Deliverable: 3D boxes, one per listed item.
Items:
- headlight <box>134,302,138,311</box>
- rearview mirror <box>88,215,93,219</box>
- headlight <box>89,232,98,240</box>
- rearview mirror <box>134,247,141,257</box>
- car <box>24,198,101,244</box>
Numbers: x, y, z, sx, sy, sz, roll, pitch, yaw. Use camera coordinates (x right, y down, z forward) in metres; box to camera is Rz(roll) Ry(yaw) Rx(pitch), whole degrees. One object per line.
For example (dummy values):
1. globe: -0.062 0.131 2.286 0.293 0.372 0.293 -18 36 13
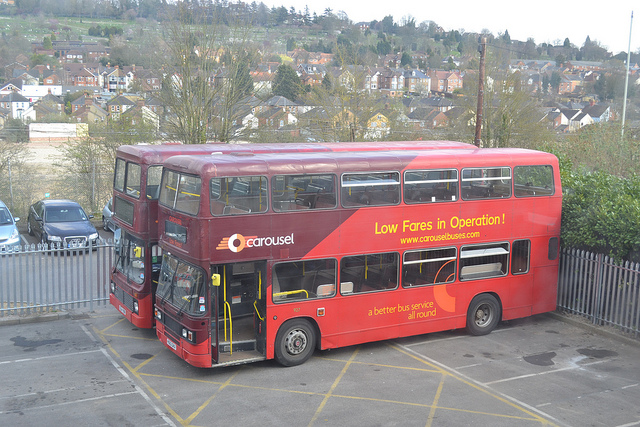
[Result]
1. headlight: -5.791 2.885 19.071 0.055 0.209 0.201 2 1 -32
2. rearview mirror: -10.784 0.146 28.522 0.204 0.129 0.204 0 -3 -14
3. headlight: -10.325 1.001 27.619 0.361 0.269 0.542 -4 14 -21
4. rearview mirror: -5.764 1.182 19.174 0.036 0.344 0.291 -7 11 -37
5. car: -12.362 0.468 29.086 2.129 1.774 5.576 -8 15 -34
